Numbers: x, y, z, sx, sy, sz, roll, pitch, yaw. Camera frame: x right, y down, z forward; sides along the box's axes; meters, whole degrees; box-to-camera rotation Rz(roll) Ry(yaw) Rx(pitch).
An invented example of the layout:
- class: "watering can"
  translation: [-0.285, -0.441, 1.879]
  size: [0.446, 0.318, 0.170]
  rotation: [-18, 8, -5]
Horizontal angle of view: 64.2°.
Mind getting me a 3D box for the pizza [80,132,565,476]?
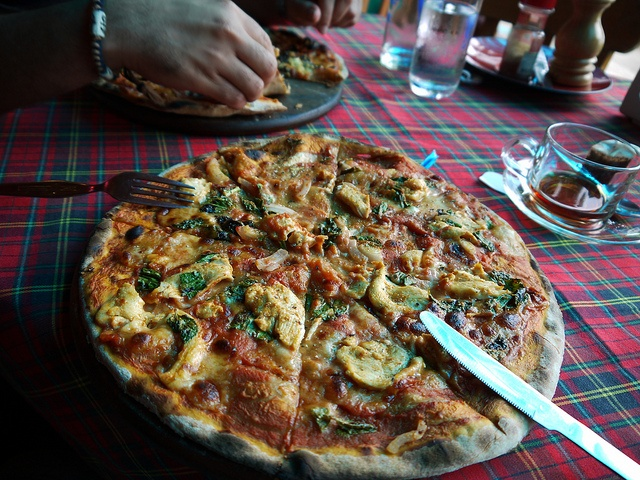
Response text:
- class: "pizza"
  translation: [0.025, 0.121, 1.447]
  size: [1.259, 0.304, 1.163]
  rotation: [-13, 42, -24]
